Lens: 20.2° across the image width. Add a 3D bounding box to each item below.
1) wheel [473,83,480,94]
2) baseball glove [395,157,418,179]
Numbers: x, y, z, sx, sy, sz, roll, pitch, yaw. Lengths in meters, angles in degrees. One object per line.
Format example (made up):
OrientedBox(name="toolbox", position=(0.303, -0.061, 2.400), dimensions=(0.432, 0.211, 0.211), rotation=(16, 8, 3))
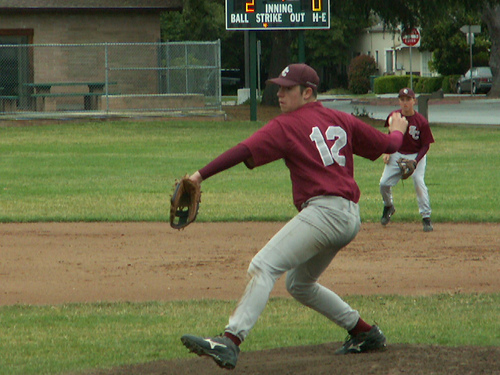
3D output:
OrientedBox(name="wheel", position=(10.908, -4.661, 67.000), dimensions=(0.308, 0.497, 1.110), rotation=(-4, 1, 7))
OrientedBox(name="baseball glove", position=(4.081, -0.473, 36.155), dimensions=(0.363, 0.612, 0.207), rotation=(10, -33, -17))
